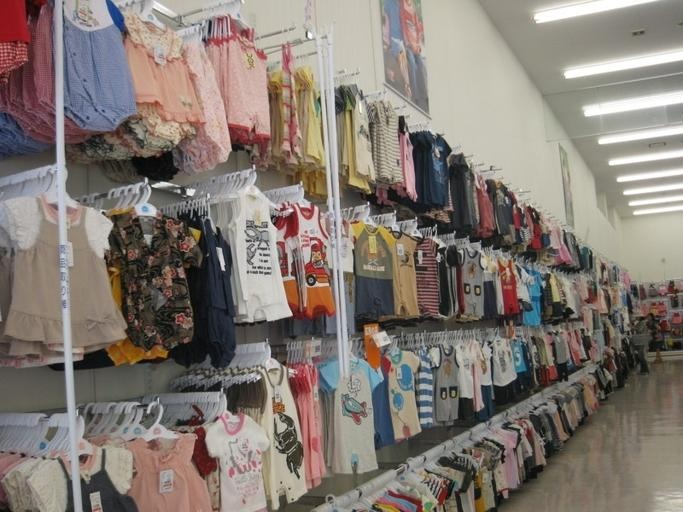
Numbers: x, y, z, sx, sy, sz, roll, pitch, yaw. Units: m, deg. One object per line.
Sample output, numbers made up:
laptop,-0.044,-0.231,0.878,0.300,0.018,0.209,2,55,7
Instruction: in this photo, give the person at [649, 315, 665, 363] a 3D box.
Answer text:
person,9.420,2.293,20.362,0.341,1.469,2.292,-5,-2,24
